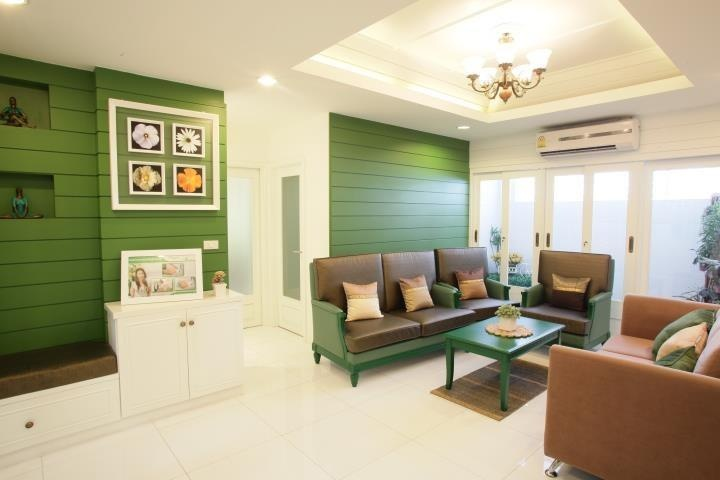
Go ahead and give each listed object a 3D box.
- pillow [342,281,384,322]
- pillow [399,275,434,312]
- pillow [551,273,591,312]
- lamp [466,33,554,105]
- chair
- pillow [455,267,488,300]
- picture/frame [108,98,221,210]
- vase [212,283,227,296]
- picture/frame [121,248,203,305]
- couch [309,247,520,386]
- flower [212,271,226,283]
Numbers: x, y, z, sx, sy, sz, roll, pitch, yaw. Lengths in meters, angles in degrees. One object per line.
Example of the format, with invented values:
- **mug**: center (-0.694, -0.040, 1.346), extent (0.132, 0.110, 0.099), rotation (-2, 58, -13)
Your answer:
- **pillow**: center (0.028, 0.748, 5.650), extent (0.520, 0.432, 0.269), rotation (0, 11, -31)
- **pillow**: center (0.757, 0.707, 6.107), extent (0.489, 0.398, 0.253), rotation (-4, 11, -40)
- **pillow**: center (2.771, 0.718, 6.126), extent (0.253, 0.404, 0.479), rotation (-11, 9, -36)
- **lamp**: center (1.716, -1.884, 5.277), extent (0.833, 0.733, 1.327), rotation (-1, 3, 21)
- **chair**: center (2.690, 0.764, 6.086), extent (0.962, 1.205, 0.923), rotation (6, 10, 43)
- **pillow**: center (1.612, 0.631, 6.633), extent (0.473, 0.416, 0.241), rotation (-4, 10, -22)
- **picture/frame**: center (-2.143, -0.924, 4.897), extent (1.332, 1.249, 0.087), rotation (-2, 3, -33)
- **vase**: center (-1.508, 0.528, 4.964), extent (0.145, 0.167, 0.134), rotation (0, 5, -25)
- **picture/frame**: center (-2.094, 0.399, 4.778), extent (0.629, 0.443, 0.031), rotation (3, -15, -26)
- **couch**: center (0.848, 0.810, 6.158), extent (2.972, 1.227, 1.004), rotation (-4, 7, -36)
- **flower**: center (-1.525, 0.403, 5.046), extent (0.138, 0.172, 0.133), rotation (4, 0, 13)
